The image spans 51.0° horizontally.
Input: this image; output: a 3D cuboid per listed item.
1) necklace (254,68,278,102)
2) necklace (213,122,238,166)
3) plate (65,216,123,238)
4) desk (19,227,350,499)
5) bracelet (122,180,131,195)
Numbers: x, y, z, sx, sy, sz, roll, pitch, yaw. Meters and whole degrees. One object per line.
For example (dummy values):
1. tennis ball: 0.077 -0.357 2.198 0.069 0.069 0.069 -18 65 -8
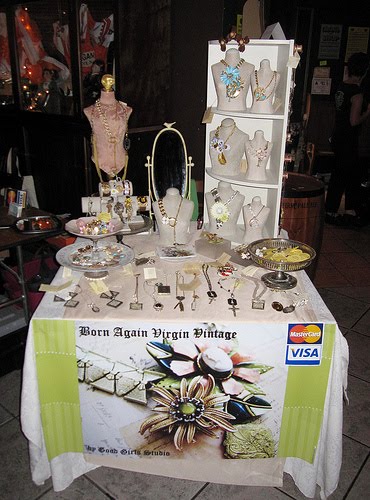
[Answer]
1. necklace: 0.353 -0.725 1.735 0.095 0.140 0.042 11 -1 6
2. necklace: 0.200 -0.526 1.964 0.117 0.215 0.063 11 -19 31
3. plate: -0.397 -0.090 1.604 0.149 0.050 0.144 16 27 19
4. desk: 0.026 0.465 1.639 1.065 0.550 1.003 3 31 5
5. bracelet: -0.290 -0.309 1.926 0.067 0.061 0.025 -5 -6 -20
